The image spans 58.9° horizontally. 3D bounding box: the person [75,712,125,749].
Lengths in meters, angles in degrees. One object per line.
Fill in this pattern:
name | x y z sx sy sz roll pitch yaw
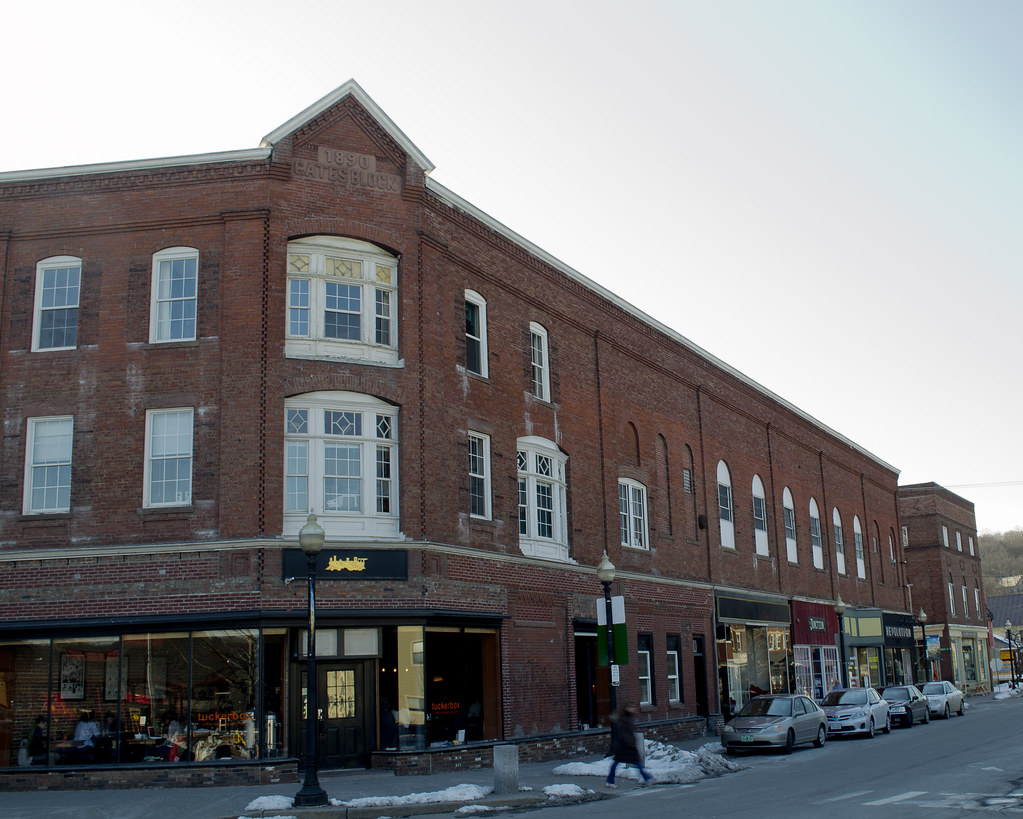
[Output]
person | -9.659 7.515 21.226 0.771 0.677 0.384 -1 -36 -2
